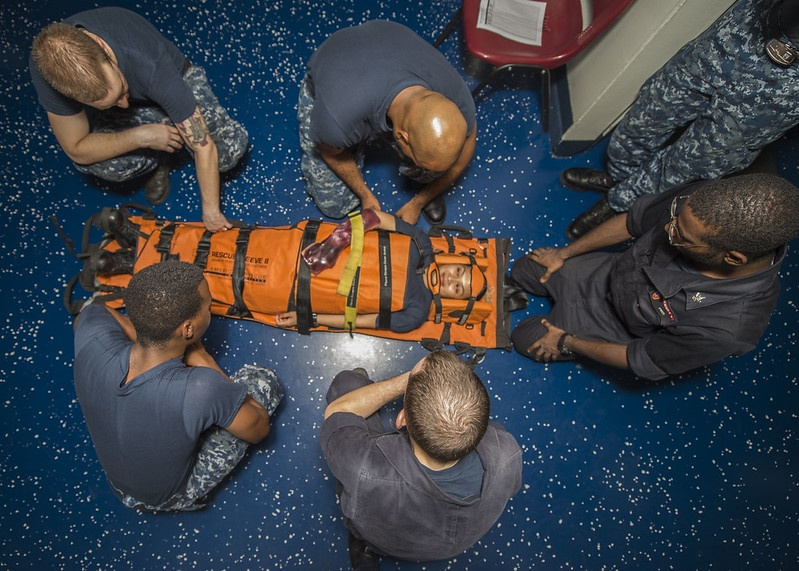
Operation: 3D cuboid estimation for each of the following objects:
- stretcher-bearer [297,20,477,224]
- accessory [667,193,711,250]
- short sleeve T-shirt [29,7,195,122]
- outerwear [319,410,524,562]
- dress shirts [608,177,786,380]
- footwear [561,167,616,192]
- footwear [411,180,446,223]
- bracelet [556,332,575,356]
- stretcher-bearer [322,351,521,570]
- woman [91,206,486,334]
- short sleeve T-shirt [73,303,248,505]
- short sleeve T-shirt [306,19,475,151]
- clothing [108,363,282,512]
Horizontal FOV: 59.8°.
[{"bbox_3d":[-0.095,-1.124,5.197,0.971,1.480,1.297,-17,99,-10],"label":"stretcher-bearer"},{"bbox_3d":[1.928,-0.381,4.646,0.310,0.099,0.323,4,55,-5],"label":"accessory"},{"bbox_3d":[-2.036,-1.619,5.210,1.043,0.581,0.789,2,82,-2],"label":"short sleeve T-shirt"},{"bbox_3d":[0.124,1.346,4.844,0.970,1.202,1.009,0,74,-3],"label":"outerwear"},{"bbox_3d":[2.021,-0.032,4.978,0.982,0.940,1.214,-16,83,-5],"label":"dress shirts"},{"bbox_3d":[1.601,-0.868,5.969,0.509,0.193,0.191,6,96,3],"label":"footwear"},{"bbox_3d":[0.248,-0.680,5.766,0.148,0.134,0.361,0,84,4],"label":"footwear"},{"bbox_3d":[1.276,0.474,5.448,0.107,0.160,0.181,-1,103,-18],"label":"bracelet"},{"bbox_3d":[0.139,1.270,4.689,1.029,1.956,1.210,12,78,-2],"label":"stretcher-bearer"},{"bbox_3d":[-0.726,-0.057,5.884,3.247,0.936,1.261,2,89,4],"label":"woman"},{"bbox_3d":[-1.758,0.916,4.784,1.179,0.555,1.050,26,82,1],"label":"short sleeve T-shirt"},{"bbox_3d":[-0.071,-1.375,4.936,0.945,0.592,1.036,21,55,21],"label":"short sleeve T-shirt"},{"bbox_3d":[-1.346,1.150,5.149,0.344,0.969,1.206,47,61,-36],"label":"clothing"}]
